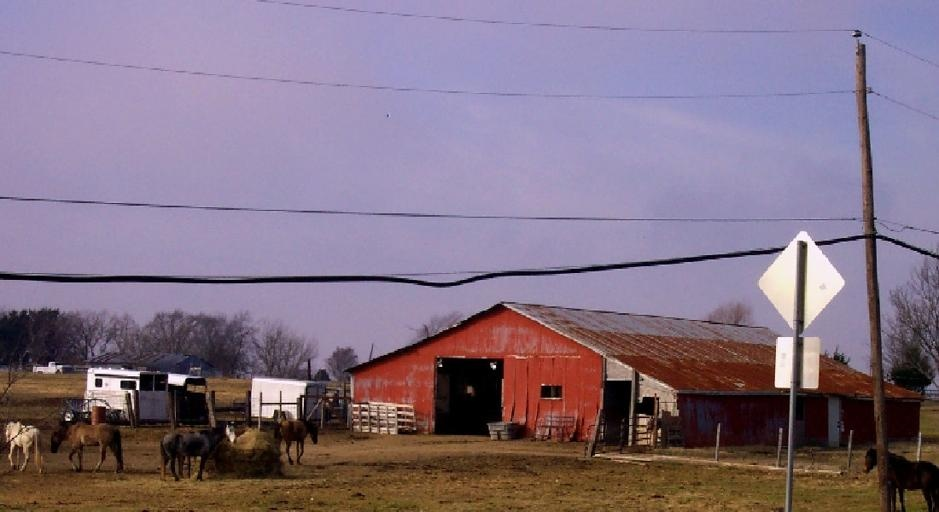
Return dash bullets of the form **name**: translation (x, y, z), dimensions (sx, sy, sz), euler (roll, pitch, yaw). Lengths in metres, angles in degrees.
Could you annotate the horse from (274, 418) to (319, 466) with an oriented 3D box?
- **horse**: translation (-13.787, 14.496, 139.462), dimensions (1.208, 3.613, 4.802), euler (-2, -9, 37)
